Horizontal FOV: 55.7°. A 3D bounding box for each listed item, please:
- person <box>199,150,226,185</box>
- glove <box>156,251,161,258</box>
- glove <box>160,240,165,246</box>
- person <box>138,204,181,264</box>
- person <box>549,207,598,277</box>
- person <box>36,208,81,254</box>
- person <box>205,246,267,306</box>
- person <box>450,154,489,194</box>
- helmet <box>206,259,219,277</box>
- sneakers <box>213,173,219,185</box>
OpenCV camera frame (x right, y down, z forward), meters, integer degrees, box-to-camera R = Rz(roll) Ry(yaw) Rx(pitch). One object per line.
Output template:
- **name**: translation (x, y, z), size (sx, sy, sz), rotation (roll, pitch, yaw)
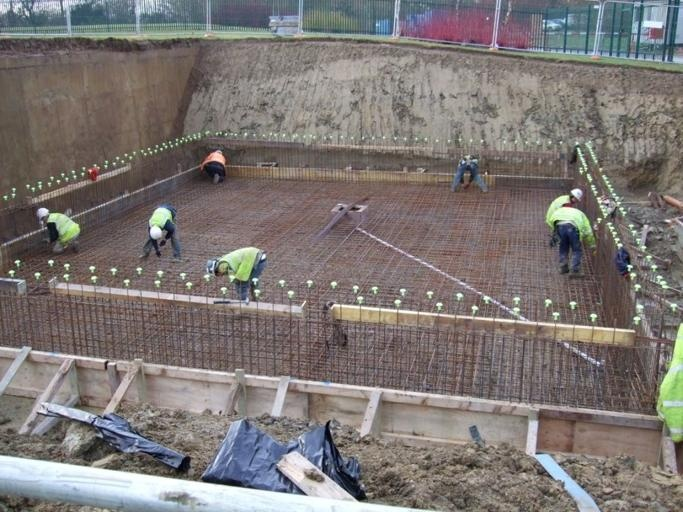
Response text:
- **person**: translation (-3.000, -2.101, 15.251), size (0.448, 0.353, 0.930), rotation (-1, 29, -4)
- **glove**: translation (-3.205, -0.021, 11.174), size (0.075, 0.061, 0.107), rotation (23, 9, -16)
- **glove**: translation (-3.097, -0.211, 11.050), size (0.079, 0.108, 0.069), rotation (6, 53, -33)
- **person**: translation (-3.066, -0.364, 11.014), size (0.608, 0.890, 1.249), rotation (6, 11, 3)
- **person**: translation (3.732, -0.191, 10.447), size (0.618, 1.123, 0.634), rotation (-23, 28, -32)
- **person**: translation (-4.970, -0.457, 11.347), size (0.613, 0.808, 0.586), rotation (0, 24, -7)
- **person**: translation (-1.444, 0.237, 8.917), size (0.833, 0.773, 0.428), rotation (-6, 20, -20)
- **person**: translation (2.837, -1.799, 14.331), size (0.711, 0.856, 1.058), rotation (-6, -12, 40)
- **helmet**: translation (-1.765, 0.153, 8.706), size (0.133, 0.233, 0.433), rotation (5, -10, -16)
- **sneakers**: translation (-2.987, -1.796, 15.197), size (0.105, 0.212, 0.078), rotation (2, 4, -4)
